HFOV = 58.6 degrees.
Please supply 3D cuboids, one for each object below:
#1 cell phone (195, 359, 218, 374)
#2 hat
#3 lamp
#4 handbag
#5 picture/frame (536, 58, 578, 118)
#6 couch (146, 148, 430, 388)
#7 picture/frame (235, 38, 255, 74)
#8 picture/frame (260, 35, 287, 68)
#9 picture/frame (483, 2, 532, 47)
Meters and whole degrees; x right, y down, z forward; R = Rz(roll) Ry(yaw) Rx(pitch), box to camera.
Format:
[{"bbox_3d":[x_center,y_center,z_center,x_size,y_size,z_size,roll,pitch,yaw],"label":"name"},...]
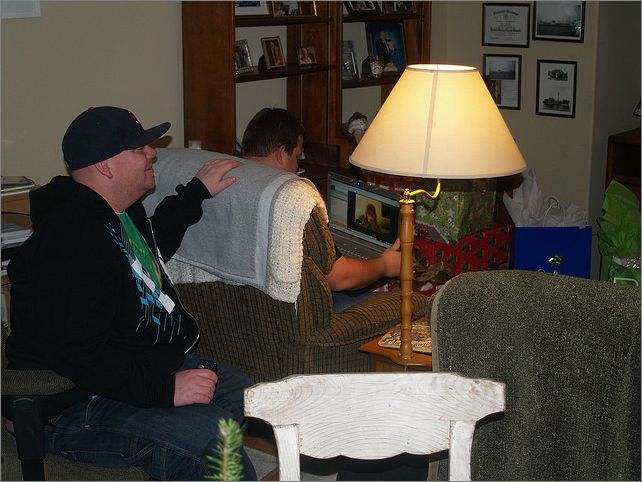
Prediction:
[{"bbox_3d":[-0.391,0.417,1.954,0.081,0.048,0.057,6,-4,24],"label":"cell phone"},{"bbox_3d":[-0.705,-0.395,1.961,0.393,0.164,0.247,-23,26,-14],"label":"hat"},{"bbox_3d":[0.341,-0.208,1.874,0.569,1.065,0.622,4,19,8],"label":"lamp"},{"bbox_3d":[1.362,-0.011,3.376,0.442,0.404,0.157,2,8,12],"label":"handbag"},{"bbox_3d":[1.734,-1.121,4.165,0.335,0.458,0.030,20,37,36],"label":"picture/frame"},{"bbox_3d":[-0.191,0.116,2.623,1.057,0.941,0.915,13,17,25],"label":"couch"},{"bbox_3d":[-0.488,-1.139,3.535,0.012,0.184,0.174,-26,24,-38],"label":"picture/frame"},{"bbox_3d":[-0.315,-1.216,3.710,0.024,0.245,0.231,-10,12,44],"label":"picture/frame"},{"bbox_3d":[1.420,-1.628,4.301,0.331,0.298,0.027,18,31,41],"label":"picture/frame"}]
